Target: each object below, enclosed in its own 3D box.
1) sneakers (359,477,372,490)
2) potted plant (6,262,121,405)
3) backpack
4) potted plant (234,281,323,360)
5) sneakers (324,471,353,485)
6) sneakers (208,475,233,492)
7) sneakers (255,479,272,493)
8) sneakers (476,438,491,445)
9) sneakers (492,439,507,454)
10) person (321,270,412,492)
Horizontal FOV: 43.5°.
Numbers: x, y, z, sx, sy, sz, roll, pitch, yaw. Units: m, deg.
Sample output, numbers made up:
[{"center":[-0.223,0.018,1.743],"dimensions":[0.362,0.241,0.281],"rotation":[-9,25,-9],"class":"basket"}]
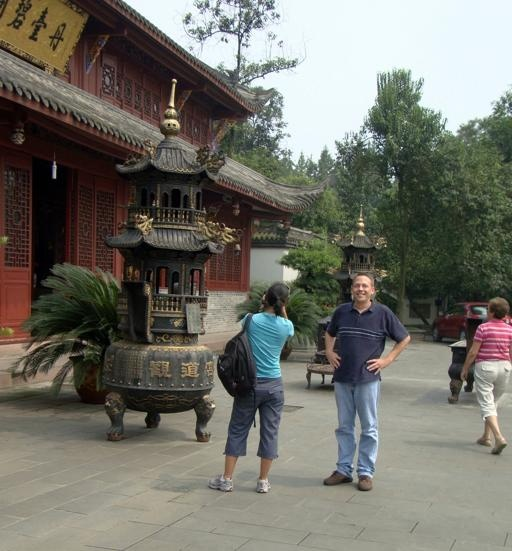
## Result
[{"center":[0.819,1.561,4.818],"dimensions":[0.113,0.093,0.152],"rotation":[0,-2,9],"class":"sneakers"},{"center":[-2.110,0.691,7.352],"dimensions":[1.061,1.691,1.079],"rotation":[1,-3,-12],"class":"potted plant"},{"center":[-0.141,0.603,4.694],"dimensions":[0.275,0.621,0.290],"rotation":[1,-3,-3],"class":"backpack"},{"center":[0.591,1.126,14.701],"dimensions":[1.638,1.515,1.601],"rotation":[9,-1,10],"class":"potted plant"},{"center":[0.629,1.568,4.969],"dimensions":[0.272,0.104,0.084],"rotation":[7,-3,-16],"class":"sneakers"},{"center":[-0.252,1.522,4.707],"dimensions":[0.195,0.081,0.079],"rotation":[7,10,24],"class":"sneakers"},{"center":[0.041,1.529,4.648],"dimensions":[0.059,0.056,0.136],"rotation":[1,1,11],"class":"sneakers"},{"center":[2.274,1.673,6.392],"dimensions":[0.118,0.071,0.062],"rotation":[12,9,36],"class":"sneakers"},{"center":[2.288,1.608,5.993],"dimensions":[0.096,0.082,0.198],"rotation":[1,-33,-17],"class":"sneakers"},{"center":[0.858,0.801,4.997],"dimensions":[0.649,1.628,0.424],"rotation":[0,-3,8],"class":"person"}]
